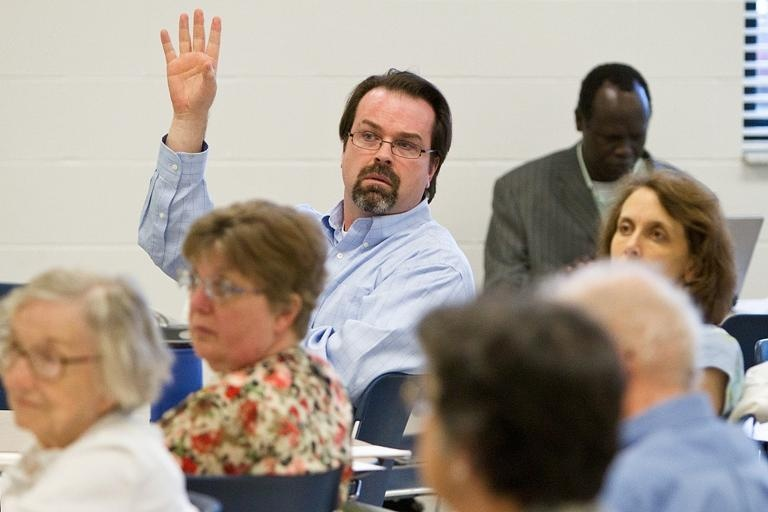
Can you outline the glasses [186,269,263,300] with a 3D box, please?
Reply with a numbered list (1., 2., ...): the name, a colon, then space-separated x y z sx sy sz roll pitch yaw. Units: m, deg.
1. glasses: -0.481 0.093 3.254 0.124 0.034 0.115 14 -1 -39
